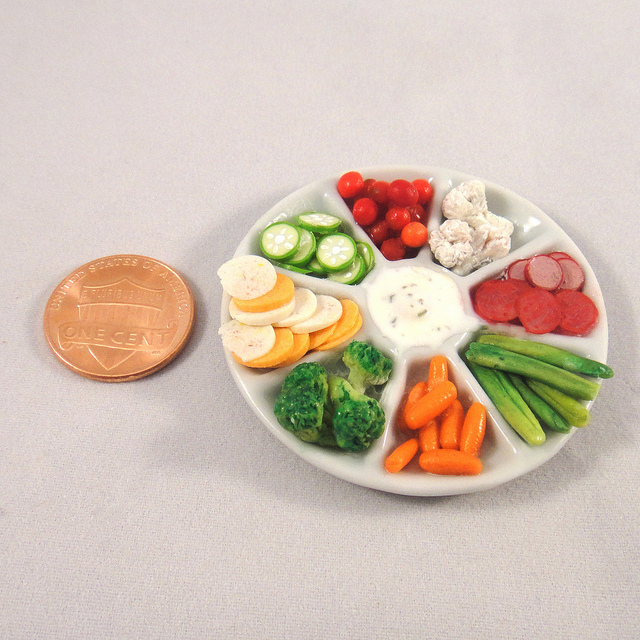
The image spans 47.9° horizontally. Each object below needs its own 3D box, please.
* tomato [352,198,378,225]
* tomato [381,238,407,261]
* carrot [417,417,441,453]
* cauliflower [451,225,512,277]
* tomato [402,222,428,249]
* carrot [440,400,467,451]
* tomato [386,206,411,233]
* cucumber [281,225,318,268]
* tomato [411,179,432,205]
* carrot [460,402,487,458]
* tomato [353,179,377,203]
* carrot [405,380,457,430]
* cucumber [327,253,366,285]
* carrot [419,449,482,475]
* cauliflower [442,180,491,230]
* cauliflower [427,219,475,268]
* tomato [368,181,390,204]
[{"bbox_3d":[0.293,-0.711,4.709,0.186,0.169,0.173,1,95,5],"label":"tomato"},{"bbox_3d":[0.471,-0.459,4.690,0.162,0.148,0.150,-2,90,5],"label":"tomato"},{"bbox_3d":[0.602,0.635,3.973,0.119,0.071,0.202,12,62,9],"label":"carrot"},{"bbox_3d":[1.072,-0.434,4.759,0.418,0.172,0.281,-33,78,10],"label":"cauliflower"},{"bbox_3d":[0.608,-0.542,4.628,0.190,0.158,0.147,-5,95,-4],"label":"tomato"},{"bbox_3d":[0.736,0.585,4.003,0.150,0.103,0.262,7,64,7],"label":"carrot"},{"bbox_3d":[0.506,-0.655,4.715,0.183,0.161,0.141,-2,89,4],"label":"tomato"},{"bbox_3d":[-0.104,-0.458,4.614,0.280,0.061,0.255,27,71,23],"label":"cucumber"},{"bbox_3d":[0.687,-0.853,4.798,0.185,0.165,0.171,0,95,7],"label":"tomato"},{"bbox_3d":[0.837,0.601,3.933,0.155,0.100,0.271,8,65,15],"label":"carrot"},{"bbox_3d":[0.303,-0.879,4.876,0.084,0.149,0.158,49,45,13],"label":"tomato"},{"bbox_3d":[0.614,0.463,4.009,0.365,0.127,0.154,-39,57,-6],"label":"carrot"},{"bbox_3d":[0.190,-0.307,4.558,0.217,0.049,0.200,-33,50,3],"label":"cucumber"},{"bbox_3d":[0.692,0.760,3.872,0.327,0.107,0.127,1,18,1],"label":"carrot"},{"bbox_3d":[0.939,-0.741,4.784,0.303,0.136,0.326,-14,65,-21],"label":"cauliflower"},{"bbox_3d":[0.849,-0.491,4.662,0.332,0.122,0.282,-3,81,5],"label":"cauliflower"},{"bbox_3d":[0.375,-0.830,4.768,0.157,0.164,0.124,4,67,-3],"label":"tomato"}]
